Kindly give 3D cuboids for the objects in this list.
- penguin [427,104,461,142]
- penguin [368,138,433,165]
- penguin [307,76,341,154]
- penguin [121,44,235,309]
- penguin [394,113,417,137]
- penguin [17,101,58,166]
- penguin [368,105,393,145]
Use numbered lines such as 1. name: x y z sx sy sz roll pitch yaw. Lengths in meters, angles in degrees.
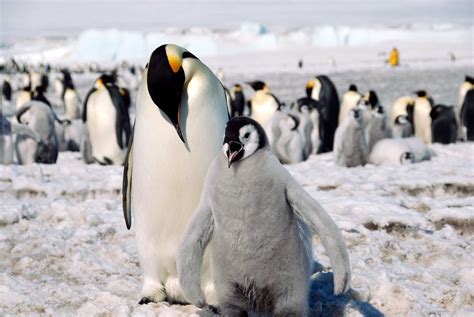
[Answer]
1. penguin: 4.087 -0.686 13.745 0.539 0.858 0.494 5 27 27
2. penguin: 2.870 -0.129 12.290 1.090 0.455 0.545 -2 2 9
3. penguin: 1.728 -0.983 13.808 0.528 1.653 0.502 10 24 20
4. penguin: -0.831 0.287 9.273 1.615 3.352 1.992 4 6 28
5. penguin: 3.058 -0.588 12.863 0.251 0.419 0.441 -1 2 32
6. penguin: -3.500 -0.441 12.179 0.705 1.109 0.446 -3 2 -16
7. penguin: 2.536 -0.573 12.464 0.408 0.719 0.425 -12 41 10
